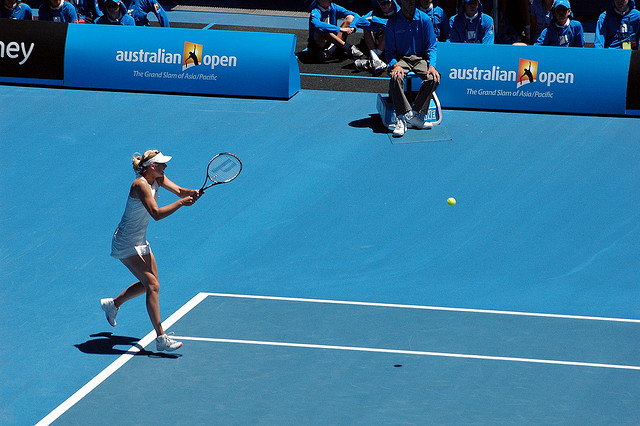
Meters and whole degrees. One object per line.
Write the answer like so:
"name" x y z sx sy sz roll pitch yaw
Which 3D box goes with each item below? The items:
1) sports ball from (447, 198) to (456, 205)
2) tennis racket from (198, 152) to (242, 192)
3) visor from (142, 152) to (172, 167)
"sports ball" 2.602 -0.240 14.459 0.162 0.115 0.256 3 16 8
"tennis racket" -1.508 -0.662 11.366 0.494 0.627 1.097 -2 16 -9
"visor" -2.472 -0.800 11.003 0.350 0.117 0.224 -18 3 13
